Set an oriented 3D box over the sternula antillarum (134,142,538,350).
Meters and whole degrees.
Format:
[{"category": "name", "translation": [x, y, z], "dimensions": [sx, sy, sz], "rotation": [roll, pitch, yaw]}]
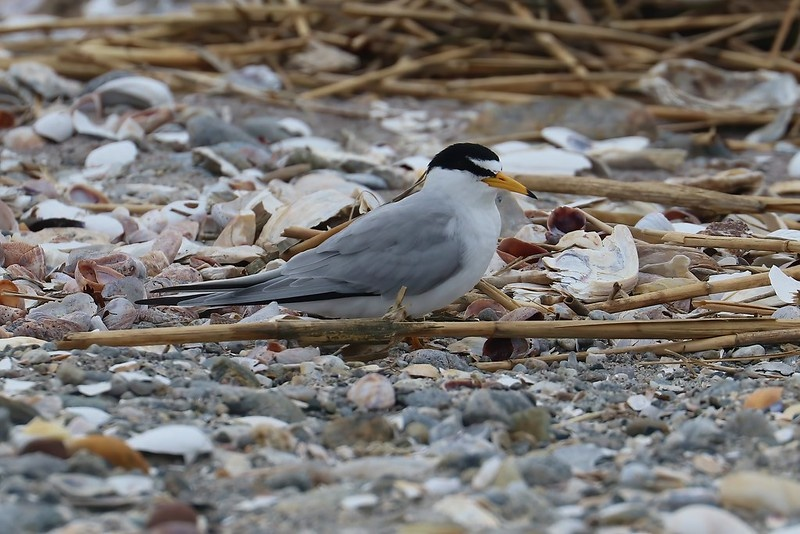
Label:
[{"category": "sternula antillarum", "translation": [-0.111, -0.145, 4.004], "dimensions": [1.535, 0.790, 0.504], "rotation": [-1, 19, -12]}]
